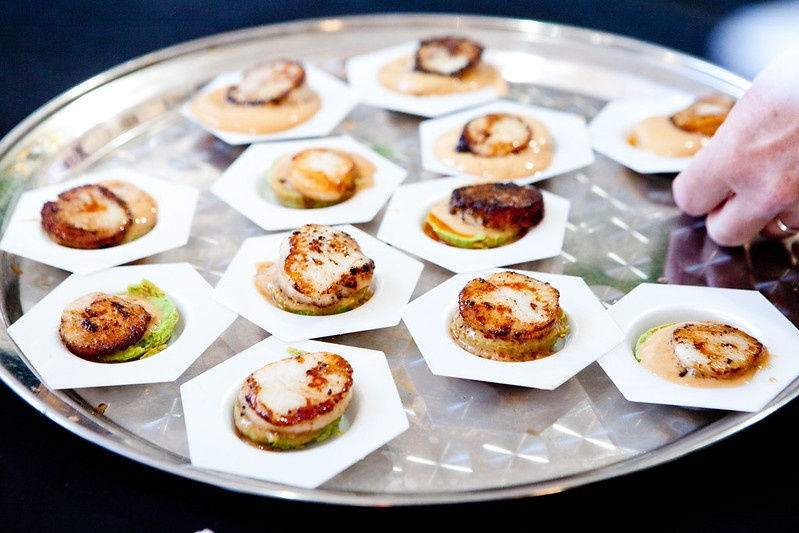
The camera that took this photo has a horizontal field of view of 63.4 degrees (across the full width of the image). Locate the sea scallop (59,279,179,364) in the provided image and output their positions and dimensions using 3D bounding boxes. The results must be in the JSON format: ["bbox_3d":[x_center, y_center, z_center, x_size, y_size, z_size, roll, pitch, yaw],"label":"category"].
[{"bbox_3d":[-0.866,0.172,2.008,0.330,0.116,0.267,-19,71,-6],"label":"sea scallop"}]

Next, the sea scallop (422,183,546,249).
[{"bbox_3d":[0.307,-0.177,2.294,0.337,0.103,0.246,-5,29,10],"label":"sea scallop"}]

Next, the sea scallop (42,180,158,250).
[{"bbox_3d":[-1.068,-0.179,2.290,0.352,0.080,0.310,20,42,16],"label":"sea scallop"}]

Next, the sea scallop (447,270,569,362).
[{"bbox_3d":[0.357,0.145,2.038,0.335,0.116,0.341,20,45,20],"label":"sea scallop"}]

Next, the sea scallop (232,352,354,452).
[{"bbox_3d":[-0.301,0.374,1.828,0.331,0.101,0.278,0,70,1],"label":"sea scallop"}]
